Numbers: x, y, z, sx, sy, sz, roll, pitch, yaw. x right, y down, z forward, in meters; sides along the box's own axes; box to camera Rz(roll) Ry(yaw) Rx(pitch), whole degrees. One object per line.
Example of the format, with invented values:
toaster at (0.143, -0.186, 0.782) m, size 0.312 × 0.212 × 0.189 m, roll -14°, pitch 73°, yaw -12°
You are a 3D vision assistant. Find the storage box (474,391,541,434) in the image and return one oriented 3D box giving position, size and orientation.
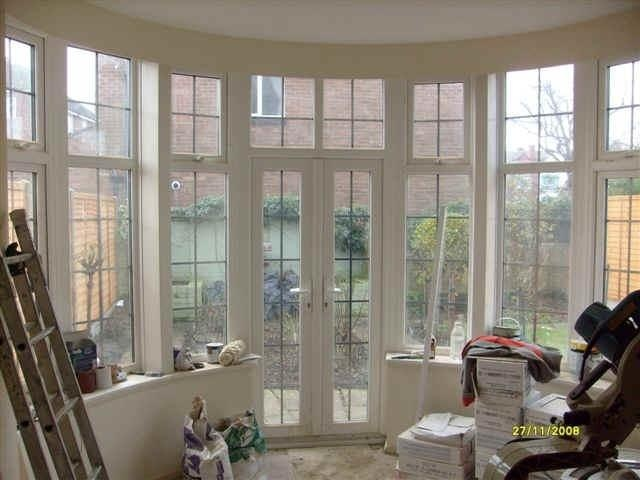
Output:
storage box at (1.342, 1.278, 3.990) m, size 0.320 × 0.206 × 0.328 m, roll -2°, pitch -1°, yaw 35°

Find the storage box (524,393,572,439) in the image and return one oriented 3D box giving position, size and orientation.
storage box at (1.645, 1.279, 3.928) m, size 0.291 × 0.181 × 0.562 m, roll -2°, pitch 1°, yaw 29°

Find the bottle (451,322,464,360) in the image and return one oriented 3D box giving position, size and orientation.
bottle at (1.194, 0.865, 4.694) m, size 0.137 × 0.320 × 0.199 m, roll -2°, pitch 2°, yaw 15°

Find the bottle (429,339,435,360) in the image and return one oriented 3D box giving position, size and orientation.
bottle at (0.986, 0.946, 4.745) m, size 0.054 × 0.172 × 0.164 m, roll -2°, pitch 2°, yaw 13°

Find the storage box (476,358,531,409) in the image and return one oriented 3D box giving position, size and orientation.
storage box at (1.337, 1.040, 3.974) m, size 0.346 × 0.345 × 0.352 m, roll 0°, pitch -1°, yaw 23°
